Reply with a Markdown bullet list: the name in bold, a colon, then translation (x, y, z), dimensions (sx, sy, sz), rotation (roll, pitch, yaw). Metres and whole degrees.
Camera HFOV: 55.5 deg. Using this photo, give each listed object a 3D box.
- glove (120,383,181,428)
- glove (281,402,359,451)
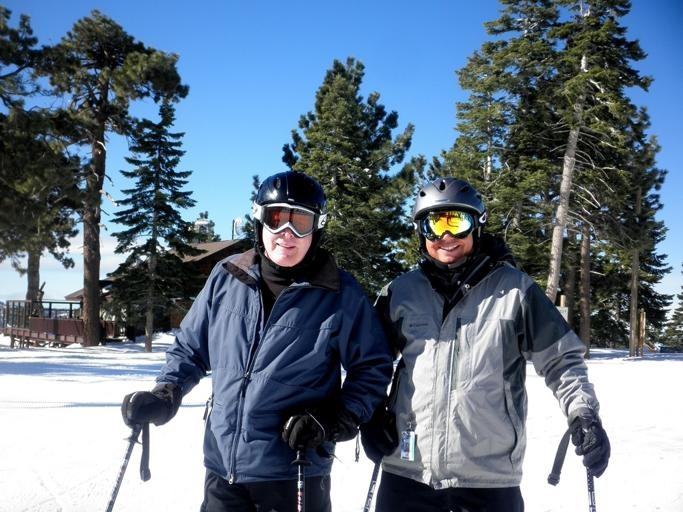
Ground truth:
- **glove**: translation (-1.700, 1.305, 5.779), dimensions (0.316, 0.213, 0.467), rotation (-18, -4, 28)
- **glove**: translation (-0.184, 1.487, 5.643), dimensions (0.480, 0.262, 0.368), rotation (-2, -3, -22)
